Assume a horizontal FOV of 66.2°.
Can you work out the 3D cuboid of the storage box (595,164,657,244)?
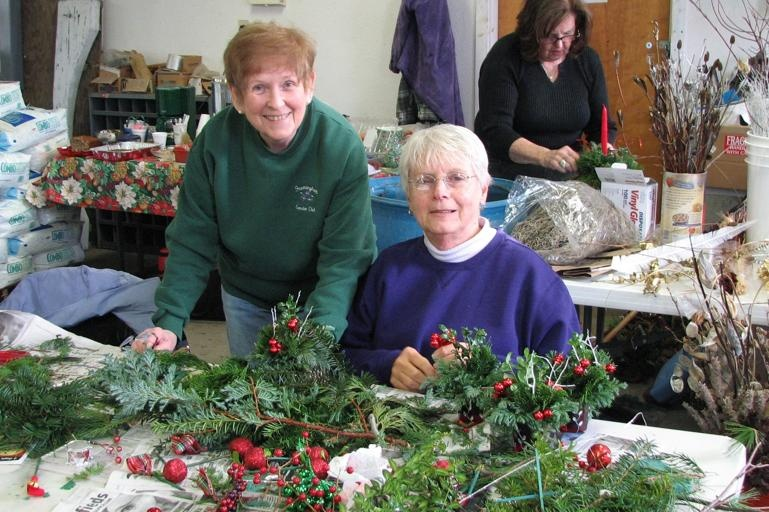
[{"bbox_3d":[1.010,-0.214,2.493,0.135,0.365,0.263,-22,25,-32],"label":"storage box"}]

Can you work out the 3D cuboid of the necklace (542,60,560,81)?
[{"bbox_3d":[0.892,-0.996,3.183,0.080,0.101,0.091,-2,15,1],"label":"necklace"}]

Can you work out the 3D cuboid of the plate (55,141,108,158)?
[{"bbox_3d":[-2.246,-0.783,4.314,0.246,0.083,0.235,1,16,3],"label":"plate"}]

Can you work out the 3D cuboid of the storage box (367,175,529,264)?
[{"bbox_3d":[0.205,-0.223,2.758,0.457,0.473,0.462,-4,14,-13],"label":"storage box"}]

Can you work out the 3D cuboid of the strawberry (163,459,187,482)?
[{"bbox_3d":[-0.474,0.481,1.331,0.040,0.033,0.036,24,-10,40],"label":"strawberry"}]

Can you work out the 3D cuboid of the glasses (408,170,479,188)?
[{"bbox_3d":[0.189,-0.246,1.924,0.206,0.056,0.036,1,5,7],"label":"glasses"}]

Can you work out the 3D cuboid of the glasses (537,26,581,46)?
[{"bbox_3d":[0.911,-1.121,3.013,0.252,0.083,0.104,-3,6,-34],"label":"glasses"}]

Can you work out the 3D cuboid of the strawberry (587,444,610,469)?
[{"bbox_3d":[0.460,0.428,1.277,0.046,0.043,0.044,4,-10,-5],"label":"strawberry"}]

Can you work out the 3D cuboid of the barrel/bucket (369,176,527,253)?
[{"bbox_3d":[0.203,-0.223,2.751,0.452,0.466,0.466,-1,15,0],"label":"barrel/bucket"}]
